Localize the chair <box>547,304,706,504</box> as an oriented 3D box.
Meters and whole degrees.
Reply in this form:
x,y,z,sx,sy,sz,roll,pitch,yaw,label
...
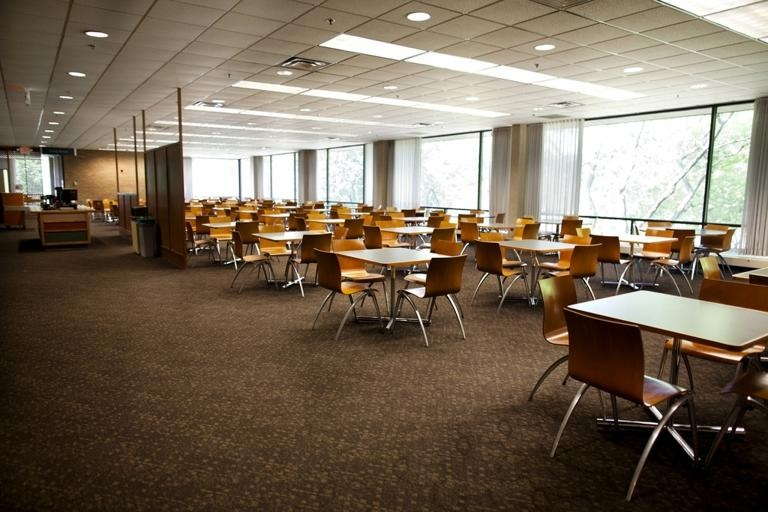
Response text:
x,y,z,sx,sy,sz,roll,pitch,yaw,label
2.068,1.175,4.076,0.867,1.468,0.879,-12,19,-40,chair
